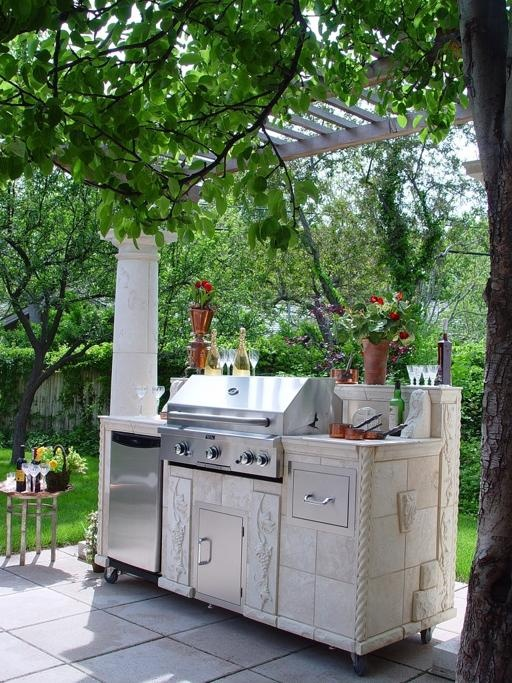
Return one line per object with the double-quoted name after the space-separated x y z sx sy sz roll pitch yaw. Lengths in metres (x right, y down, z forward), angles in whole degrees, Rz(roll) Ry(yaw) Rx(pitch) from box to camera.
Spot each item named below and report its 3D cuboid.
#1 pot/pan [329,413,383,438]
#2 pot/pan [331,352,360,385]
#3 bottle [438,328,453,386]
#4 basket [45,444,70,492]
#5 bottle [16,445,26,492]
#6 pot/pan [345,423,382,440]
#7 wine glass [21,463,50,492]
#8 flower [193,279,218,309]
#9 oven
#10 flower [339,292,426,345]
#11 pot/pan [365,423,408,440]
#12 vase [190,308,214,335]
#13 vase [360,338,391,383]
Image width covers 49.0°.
0.507 0.413 2.870 0.246 0.091 0.152 -6 -9 40 "pot/pan"
0.568 0.191 3.604 0.143 0.212 0.239 -2 -5 21 "pot/pan"
1.127 0.094 3.346 0.071 0.334 0.322 0 -5 17 "bottle"
-1.585 1.010 4.508 0.173 0.370 0.380 3 -6 -16 "basket"
-1.833 0.977 4.389 0.071 0.338 0.310 4 -6 -22 "bottle"
0.544 0.462 2.848 0.218 0.058 0.081 4 -6 -28 "pot/pan"
-1.681 1.041 4.380 0.225 0.241 0.217 1 -8 7 "wine glass"
-0.411 -0.377 4.230 0.234 0.231 0.235 0 -2 16 "flower"
-0.078 0.483 3.356 1.046 0.575 0.474 -3 -7 40 "oven"
0.723 -0.146 3.337 0.453 0.316 0.237 0 -5 15 "flower"
0.670 0.472 2.895 0.207 0.081 0.103 2 -1 38 "pot/pan"
-0.385 -0.155 4.199 0.186 0.179 0.187 1 2 -29 "vase"
0.712 0.109 3.393 0.189 0.277 0.192 -5 12 -23 "vase"
